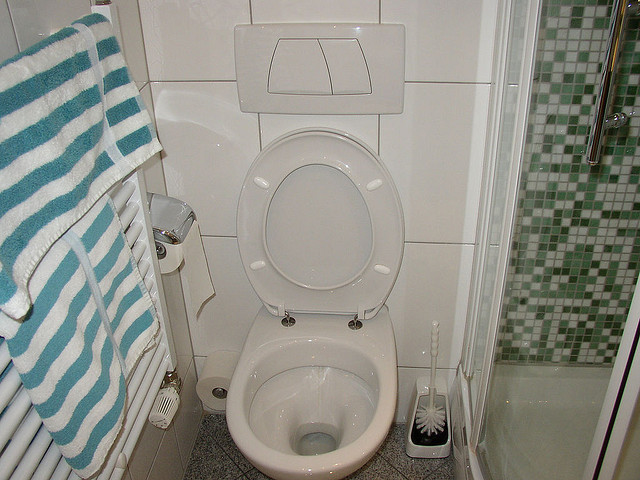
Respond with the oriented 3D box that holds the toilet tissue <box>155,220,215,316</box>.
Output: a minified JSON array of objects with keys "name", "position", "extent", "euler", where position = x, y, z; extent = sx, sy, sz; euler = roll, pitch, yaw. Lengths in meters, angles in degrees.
[{"name":"toilet tissue","position":[-0.398,0.073,1.386],"extent":[0.113,0.247,0.166],"euler":[8,48,5]}]

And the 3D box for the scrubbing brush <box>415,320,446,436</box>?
[{"name":"scrubbing brush","position":[0.378,0.450,1.587],"extent":[0.102,0.350,0.115],"euler":[-5,12,-23]}]
